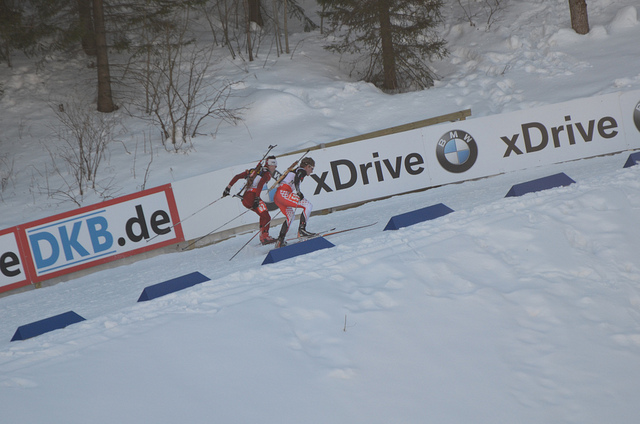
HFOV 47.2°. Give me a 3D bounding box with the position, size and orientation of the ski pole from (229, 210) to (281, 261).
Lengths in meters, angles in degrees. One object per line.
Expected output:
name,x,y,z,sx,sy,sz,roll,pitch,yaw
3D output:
ski pole,-1.832,0.673,19.878,2.109,0.082,0.034,-37,15,-1

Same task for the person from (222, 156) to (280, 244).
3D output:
person,-1.938,-0.249,20.387,1.626,2.143,0.979,-24,53,-18

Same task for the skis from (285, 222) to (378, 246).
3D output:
skis,0.357,0.588,18.690,2.101,0.135,0.214,-10,25,-17
